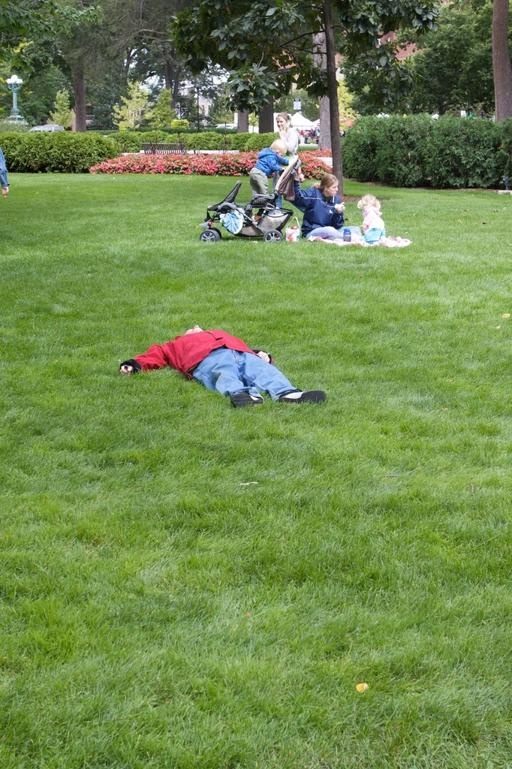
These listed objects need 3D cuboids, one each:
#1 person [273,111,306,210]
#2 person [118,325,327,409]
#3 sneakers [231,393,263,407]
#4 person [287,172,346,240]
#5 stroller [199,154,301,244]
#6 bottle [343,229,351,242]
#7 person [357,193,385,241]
[{"bbox_3d":[0.469,-3.106,14.435,0.370,1.249,0.316,-25,42,-38],"label":"person"},{"bbox_3d":[-0.207,-0.120,6.815,0.714,0.208,0.856,-7,24,-32],"label":"person"},{"bbox_3d":[-0.065,0.092,6.354,0.203,0.081,0.075,-2,44,-14],"label":"sneakers"},{"bbox_3d":[0.871,-2.259,13.223,0.939,0.955,0.680,7,11,-2],"label":"person"},{"bbox_3d":[-0.069,-2.310,13.375,1.223,1.124,0.854,1,16,4],"label":"stroller"},{"bbox_3d":[1.139,-1.883,13.210,0.103,0.154,0.165,0,10,4],"label":"bottle"},{"bbox_3d":[1.443,-2.092,13.280,0.307,0.586,0.937,0,10,5],"label":"person"}]
